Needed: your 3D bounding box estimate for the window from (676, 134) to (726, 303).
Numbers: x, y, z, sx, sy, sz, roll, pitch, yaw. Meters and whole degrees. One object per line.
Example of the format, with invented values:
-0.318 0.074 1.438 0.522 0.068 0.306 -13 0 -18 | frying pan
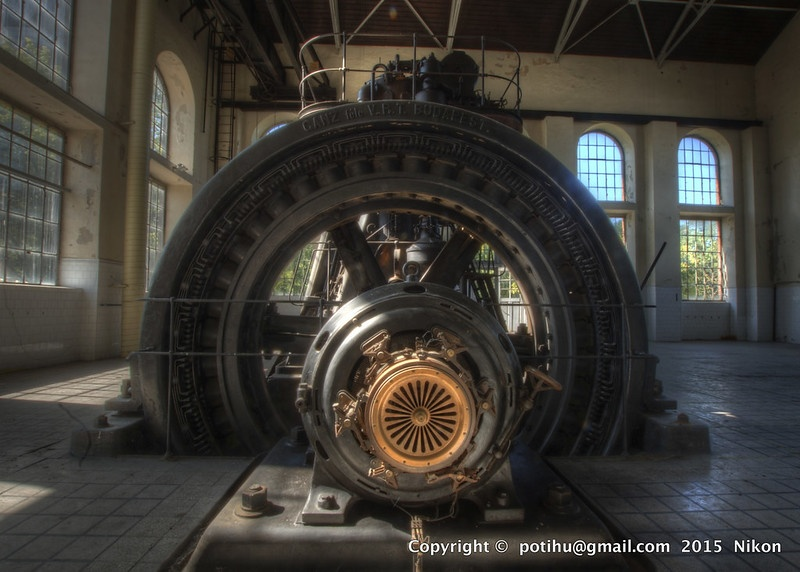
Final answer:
10.423 -2.315 17.999 1.742 5.581 1.252 4 11 15 | window
